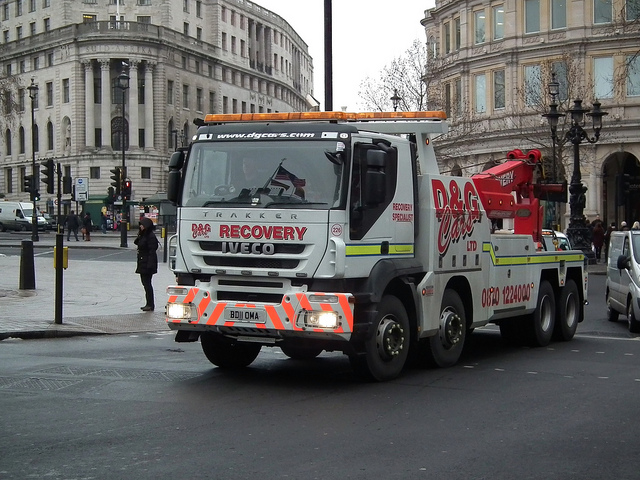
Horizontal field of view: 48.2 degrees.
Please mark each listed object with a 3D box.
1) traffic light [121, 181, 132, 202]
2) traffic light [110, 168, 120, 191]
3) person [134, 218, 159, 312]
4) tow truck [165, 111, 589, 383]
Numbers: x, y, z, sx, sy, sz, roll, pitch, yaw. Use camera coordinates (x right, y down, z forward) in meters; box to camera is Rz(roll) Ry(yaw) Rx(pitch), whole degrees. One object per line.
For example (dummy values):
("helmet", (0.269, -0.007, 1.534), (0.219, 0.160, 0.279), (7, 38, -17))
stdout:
("traffic light", (-11.663, -2.902, 42.989), (0.537, 1.235, 0.860), (0, 2, -19))
("traffic light", (-12.010, -3.572, 42.078), (0.414, 1.353, 2.531), (0, 2, -16))
("person", (-3.881, 0.569, 15.985), (0.464, 2.112, 1.181), (0, 1, -15))
("tow truck", (1.290, 0.095, 11.710), (2.992, 3.779, 8.036), (-2, -3, 36))
